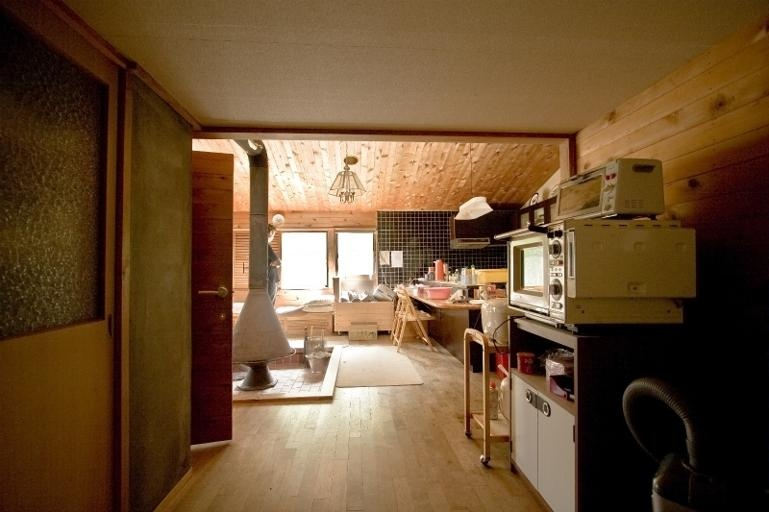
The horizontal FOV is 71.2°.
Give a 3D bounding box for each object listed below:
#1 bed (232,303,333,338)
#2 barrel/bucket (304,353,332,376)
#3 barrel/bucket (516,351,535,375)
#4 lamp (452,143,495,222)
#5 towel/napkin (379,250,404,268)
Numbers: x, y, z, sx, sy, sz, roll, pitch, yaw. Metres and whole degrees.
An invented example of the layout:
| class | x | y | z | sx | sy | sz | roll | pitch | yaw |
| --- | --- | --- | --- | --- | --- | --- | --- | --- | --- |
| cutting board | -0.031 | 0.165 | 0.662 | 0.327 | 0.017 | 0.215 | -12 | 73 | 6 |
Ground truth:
| class | x | y | z | sx | sy | sz | roll | pitch | yaw |
| --- | --- | --- | --- | --- | --- | --- | --- | --- | --- |
| bed | -1.220 | 0.927 | 7.340 | 1.839 | 0.542 | 0.850 | 2 | 3 | -3 |
| barrel/bucket | -0.678 | 1.121 | 5.571 | 0.223 | 0.154 | 0.216 | 0 | -1 | 0 |
| barrel/bucket | 0.899 | 0.684 | 3.406 | 0.119 | 0.111 | 0.117 | 0 | -6 | 0 |
| lamp | 1.177 | -0.790 | 6.141 | 0.443 | 1.057 | 0.664 | 3 | 2 | 0 |
| towel/napkin | 0.093 | 0.050 | 8.747 | 0.431 | 0.274 | 0.096 | 3 | -3 | 0 |
